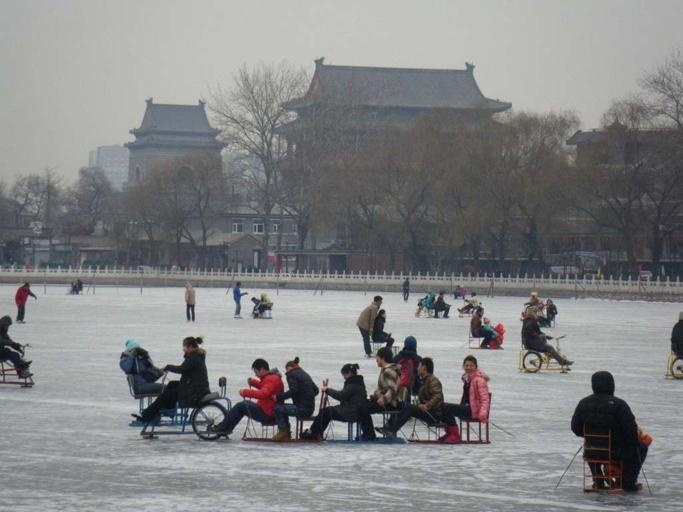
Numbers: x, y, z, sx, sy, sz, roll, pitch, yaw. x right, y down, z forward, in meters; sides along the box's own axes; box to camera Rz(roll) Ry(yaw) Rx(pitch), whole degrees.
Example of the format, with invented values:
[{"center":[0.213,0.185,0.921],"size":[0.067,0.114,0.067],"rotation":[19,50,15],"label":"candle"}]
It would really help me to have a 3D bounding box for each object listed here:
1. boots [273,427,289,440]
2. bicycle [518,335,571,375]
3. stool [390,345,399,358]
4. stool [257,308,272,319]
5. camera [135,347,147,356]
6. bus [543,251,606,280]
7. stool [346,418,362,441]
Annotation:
[{"center":[-2.172,6.367,72.392],"size":[0.610,0.602,0.276],"rotation":[6,-10,2],"label":"boots"},{"center":[8.178,4.103,80.787],"size":[2.210,1.411,1.130],"rotation":[-1,5,0],"label":"bicycle"},{"center":[2.242,3.873,80.968],"size":[0.367,0.703,0.358],"rotation":[-1,0,11],"label":"stool"},{"center":[-3.586,2.940,97.347],"size":[0.456,0.186,0.468],"rotation":[-1,0,16],"label":"stool"},{"center":[-7.233,3.544,73.147],"size":[0.299,0.174,0.234],"rotation":[17,21,25],"label":"camera"},{"center":[14.814,0.832,127.325],"size":[2.761,1.582,1.782],"rotation":[-5,-1,13],"label":"bus"},{"center":[0.492,6.297,72.960],"size":[0.608,0.723,0.605],"rotation":[-1,-2,39],"label":"stool"}]
